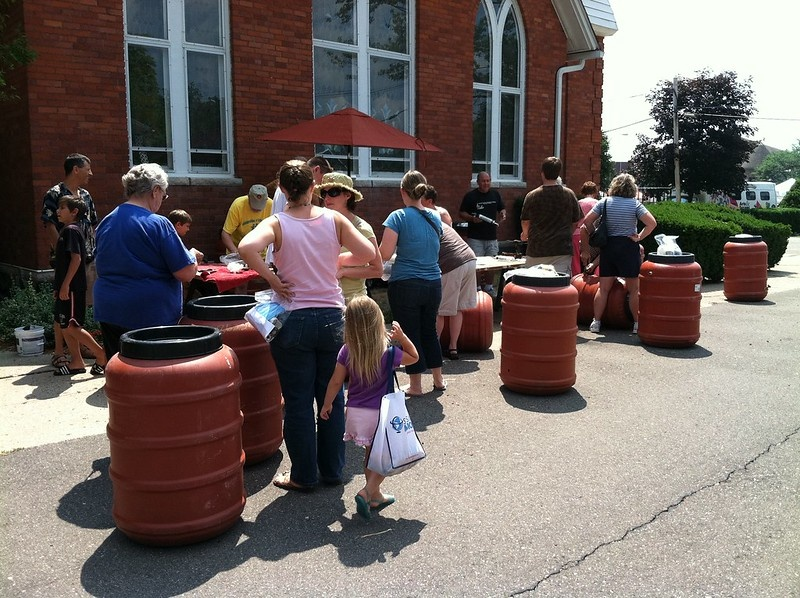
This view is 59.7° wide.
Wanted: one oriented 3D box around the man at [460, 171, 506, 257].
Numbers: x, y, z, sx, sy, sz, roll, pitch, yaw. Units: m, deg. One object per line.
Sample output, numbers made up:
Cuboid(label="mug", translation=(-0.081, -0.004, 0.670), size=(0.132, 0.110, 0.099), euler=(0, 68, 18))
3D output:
Cuboid(label="man", translation=(1.560, -1.225, 12.851), size=(0.744, 2.186, 0.673), euler=(-5, 17, -6))

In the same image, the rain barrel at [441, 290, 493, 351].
Cuboid(label="rain barrel", translation=(0.890, 0.312, 9.288), size=(0.676, 0.865, 0.620), euler=(0, 6, 0))

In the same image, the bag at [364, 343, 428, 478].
Cuboid(label="bag", translation=(-0.041, 0.980, 5.038), size=(0.391, 0.561, 0.231), euler=(-6, 15, -23))

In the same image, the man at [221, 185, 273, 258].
Cuboid(label="man", translation=(-2.141, -1.099, 10.022), size=(0.750, 1.168, 0.736), euler=(-5, 36, -31))

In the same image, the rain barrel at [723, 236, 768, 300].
Cuboid(label="rain barrel", translation=(6.405, -0.592, 12.949), size=(0.739, 1.209, 0.655), euler=(-2, 10, 22))

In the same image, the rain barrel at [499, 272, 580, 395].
Cuboid(label="rain barrel", translation=(1.536, 0.342, 7.715), size=(0.810, 1.323, 0.834), euler=(0, 13, 0))

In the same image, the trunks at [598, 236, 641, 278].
Cuboid(label="trunks", translation=(3.120, -0.603, 9.943), size=(0.570, 0.591, 0.400), euler=(3, 6, 36))

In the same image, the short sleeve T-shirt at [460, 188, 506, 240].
Cuboid(label="short sleeve T-shirt", translation=(1.572, -1.614, 12.913), size=(0.768, 0.907, 0.368), euler=(-6, 16, -3))

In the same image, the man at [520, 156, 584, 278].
Cuboid(label="man", translation=(2.118, -0.910, 9.768), size=(0.724, 2.272, 0.657), euler=(2, 29, 12))

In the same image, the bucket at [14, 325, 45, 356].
Cuboid(label="bucket", translation=(-4.445, 0.477, 8.477), size=(0.316, 0.375, 0.349), euler=(2, 2, 25))

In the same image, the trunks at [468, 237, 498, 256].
Cuboid(label="trunks", translation=(1.525, -0.948, 12.782), size=(0.535, 0.566, 0.319), euler=(0, 1, -4))

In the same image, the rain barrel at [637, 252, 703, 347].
Cuboid(label="rain barrel", translation=(3.679, 0.000, 9.536), size=(0.769, 1.284, 0.810), euler=(-2, 10, 0))

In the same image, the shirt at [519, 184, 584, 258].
Cuboid(label="shirt", translation=(2.065, -1.016, 9.544), size=(0.785, 1.030, 0.485), euler=(1, -9, 13))

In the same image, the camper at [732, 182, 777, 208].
Cuboid(label="camper", translation=(29.313, -8.616, 57.047), size=(2.670, 1.836, 9.460), euler=(8, 17, 27))

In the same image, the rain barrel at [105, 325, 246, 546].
Cuboid(label="rain barrel", translation=(-1.540, 0.972, 4.812), size=(0.898, 1.396, 0.457), euler=(-5, 15, -21))

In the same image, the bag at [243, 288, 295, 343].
Cuboid(label="bag", translation=(-0.983, 0.158, 5.189), size=(0.268, 0.094, 0.205), euler=(-41, 17, -12))

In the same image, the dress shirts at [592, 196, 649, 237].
Cuboid(label="dress shirts", translation=(3.101, -1.098, 9.897), size=(0.752, 0.604, 0.406), euler=(4, -3, 1))
